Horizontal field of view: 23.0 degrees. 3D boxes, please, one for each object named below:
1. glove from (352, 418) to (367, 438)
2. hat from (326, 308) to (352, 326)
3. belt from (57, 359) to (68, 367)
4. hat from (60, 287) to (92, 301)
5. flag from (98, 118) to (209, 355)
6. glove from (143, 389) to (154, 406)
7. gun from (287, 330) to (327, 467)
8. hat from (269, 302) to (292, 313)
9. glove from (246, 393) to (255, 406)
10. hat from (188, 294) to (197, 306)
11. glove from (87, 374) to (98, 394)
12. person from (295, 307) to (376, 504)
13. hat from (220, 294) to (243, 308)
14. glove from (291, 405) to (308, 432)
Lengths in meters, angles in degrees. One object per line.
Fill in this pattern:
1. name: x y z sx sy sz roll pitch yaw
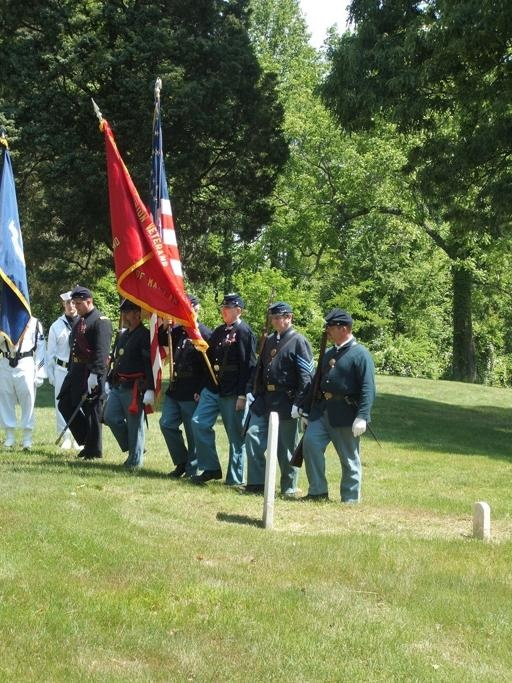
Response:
1. glove: 1.129 0.943 13.833 0.150 0.189 0.194 1 15 -1
2. hat: 0.929 -0.269 14.080 0.241 0.160 0.177 3 0 5
3. belt: -2.719 0.316 17.746 0.118 0.087 0.117 -1 -11 8
4. hat: -2.228 -0.586 15.486 0.362 0.156 0.291 -1 0 37
5. flag: -1.329 -1.292 14.464 0.557 2.024 1.560 -7 17 -42
6. glove: -1.262 0.667 14.978 0.135 0.147 0.162 -4 6 2
7. gun: 0.569 0.692 14.365 0.284 1.614 0.084 14 -2 -25
8. hat: 0.286 -0.378 14.522 0.227 0.132 0.291 8 12 13
9. glove: -0.070 0.684 14.685 0.045 0.131 0.094 1 25 -14
10. hat: -0.766 -0.489 15.042 0.102 0.126 0.048 -11 -10 -46
11. glove: -1.997 0.523 15.402 0.107 0.277 0.134 8 13 12
12. person: 0.895 0.712 14.039 0.798 2.044 0.813 7 13 7
13. hat: -0.279 -0.477 14.896 0.236 0.163 0.331 4 12 -4
14. glove: 0.513 0.901 14.402 0.125 0.312 0.227 -8 27 -1
